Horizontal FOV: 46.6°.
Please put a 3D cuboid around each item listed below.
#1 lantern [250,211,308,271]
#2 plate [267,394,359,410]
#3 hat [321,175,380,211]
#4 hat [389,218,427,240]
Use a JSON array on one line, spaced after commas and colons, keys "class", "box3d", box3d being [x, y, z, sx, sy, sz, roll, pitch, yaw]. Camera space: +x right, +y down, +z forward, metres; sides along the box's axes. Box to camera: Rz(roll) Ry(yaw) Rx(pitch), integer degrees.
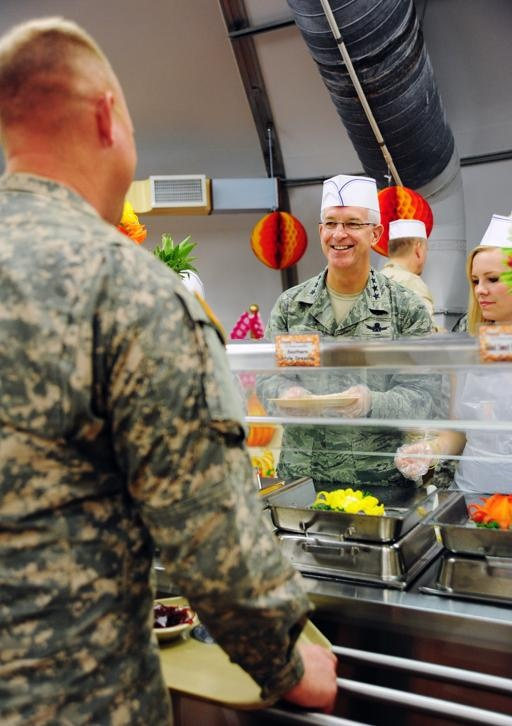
[{"class": "lantern", "box3d": [0.199, -0.950, 4.833, 0.443, 0.480, 0.308, -2, 5, -14]}, {"class": "plate", "box3d": [0.144, 0.102, 1.408, 0.258, 0.034, 0.055, -2, 2, 22]}, {"class": "hat", "box3d": [0.372, -0.643, 2.348, 0.192, 0.093, 0.183, 3, 14, 17]}, {"class": "hat", "box3d": [0.849, -0.722, 3.280, 0.149, 0.067, 0.138, 0, 3, -13]}]
